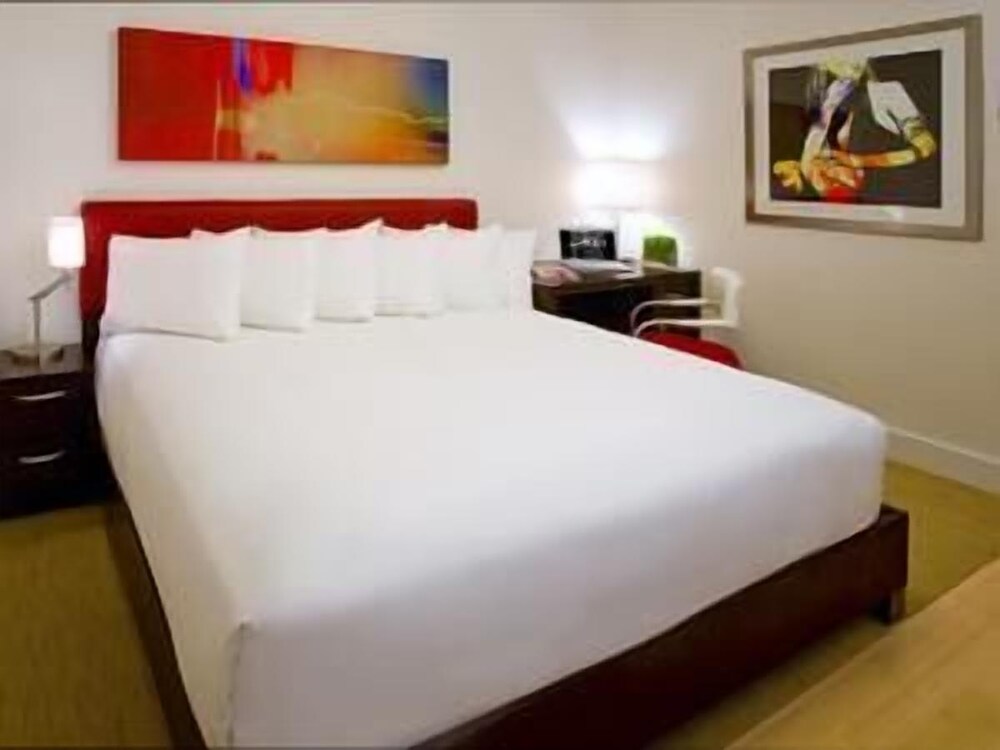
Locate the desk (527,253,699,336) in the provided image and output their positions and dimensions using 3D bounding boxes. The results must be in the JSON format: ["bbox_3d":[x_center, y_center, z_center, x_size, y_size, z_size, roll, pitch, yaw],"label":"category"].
[{"bbox_3d":[0.752,-0.392,4.534,1.021,0.655,0.598,-4,25,-6],"label":"desk"}]

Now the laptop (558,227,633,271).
[{"bbox_3d":[0.601,-0.837,4.565,0.426,0.298,0.319,-2,9,-13],"label":"laptop"}]
